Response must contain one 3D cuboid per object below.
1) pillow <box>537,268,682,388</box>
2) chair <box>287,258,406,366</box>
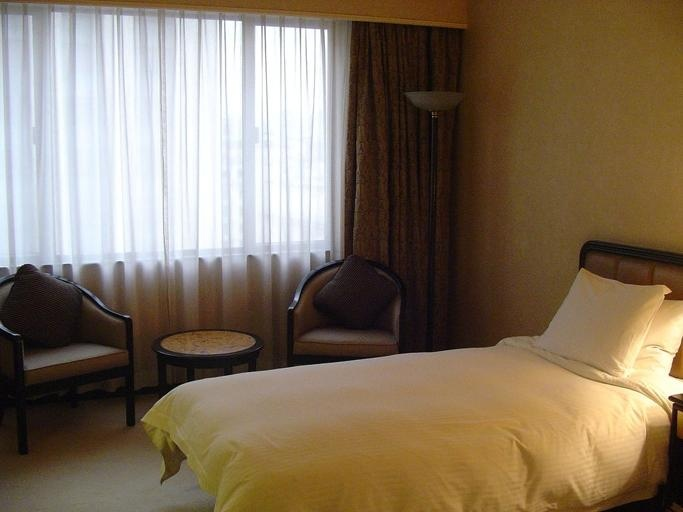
[{"bbox_3d":[1.497,0.397,3.472,0.155,0.556,0.564,29,-3,-27],"label":"pillow"},{"bbox_3d":[0.030,0.535,4.738,0.932,1.127,0.920,1,-2,-10],"label":"chair"}]
